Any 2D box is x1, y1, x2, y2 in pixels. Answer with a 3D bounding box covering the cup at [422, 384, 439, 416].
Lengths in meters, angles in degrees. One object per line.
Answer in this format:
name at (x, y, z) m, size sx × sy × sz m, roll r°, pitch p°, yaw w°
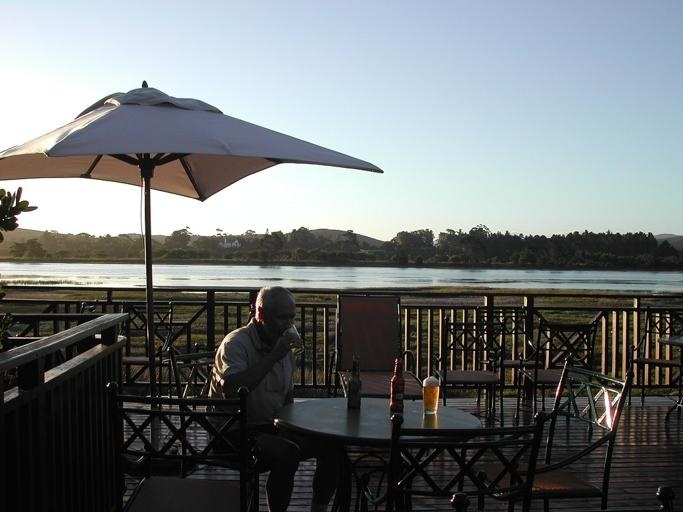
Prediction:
cup at (0.770, 1.219, 6.113) m, size 0.134 × 0.251 × 0.196 m, roll 1°, pitch -2°, yaw 7°
